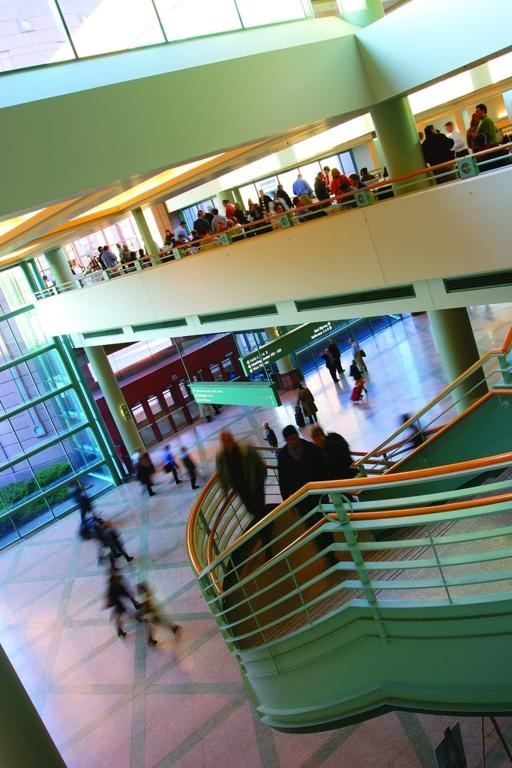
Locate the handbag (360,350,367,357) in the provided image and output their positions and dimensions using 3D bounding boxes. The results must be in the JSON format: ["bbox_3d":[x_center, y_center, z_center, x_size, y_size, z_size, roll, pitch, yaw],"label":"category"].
[{"bbox_3d":[3.961,-1.160,19.065,0.096,0.360,0.366,-14,-7,22],"label":"handbag"}]
